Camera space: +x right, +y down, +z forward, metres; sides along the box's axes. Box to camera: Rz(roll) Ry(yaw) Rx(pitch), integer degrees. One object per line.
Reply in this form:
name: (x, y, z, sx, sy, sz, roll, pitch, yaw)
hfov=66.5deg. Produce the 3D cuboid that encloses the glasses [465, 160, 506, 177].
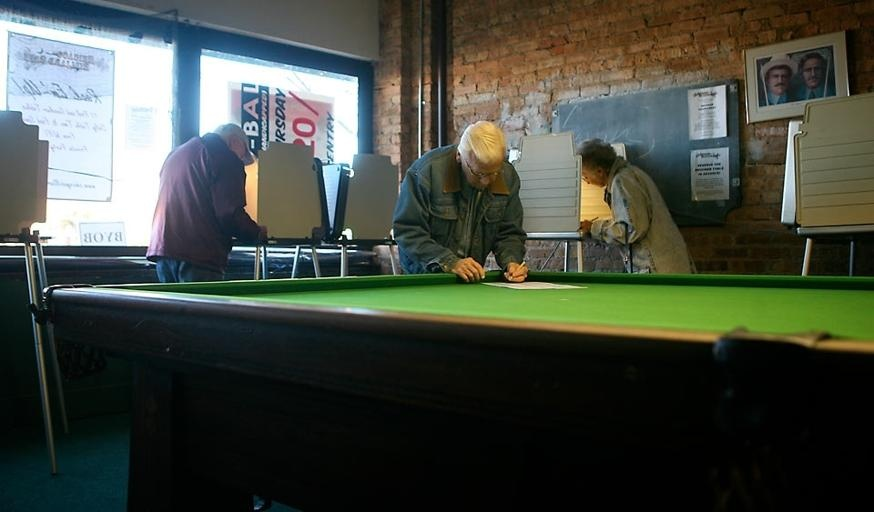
glasses: (0.279, -0.514, 3.969, 0.189, 0.098, 0.141, -3, 5, -9)

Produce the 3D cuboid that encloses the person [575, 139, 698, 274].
person: (1.489, -0.401, 5.219, 0.506, 1.065, 0.781, -7, 7, -42)

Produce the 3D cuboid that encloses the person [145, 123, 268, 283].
person: (-1.653, -0.338, 4.703, 0.771, 1.034, 0.336, -4, 5, -16)

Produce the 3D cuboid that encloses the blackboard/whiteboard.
blackboard/whiteboard: (1.905, -0.849, 5.778, 1.497, 1.008, 0.147, -2, -6, 30)
